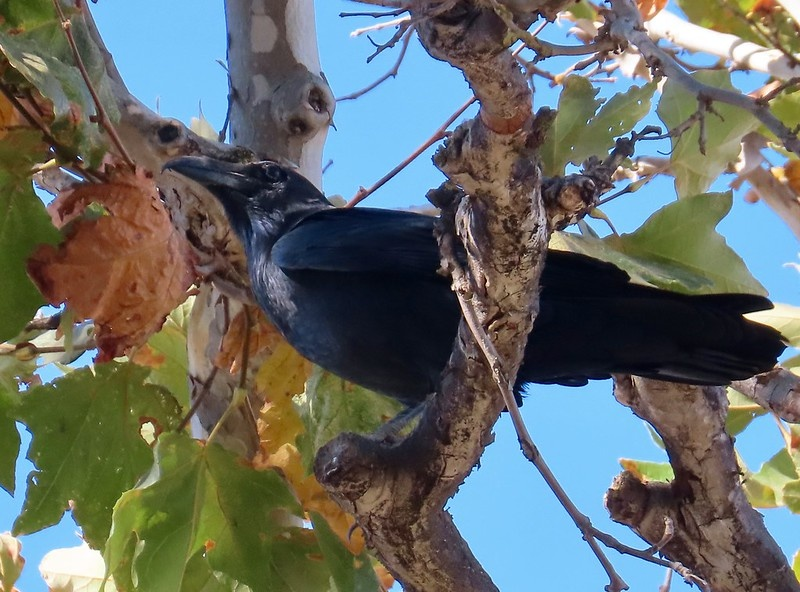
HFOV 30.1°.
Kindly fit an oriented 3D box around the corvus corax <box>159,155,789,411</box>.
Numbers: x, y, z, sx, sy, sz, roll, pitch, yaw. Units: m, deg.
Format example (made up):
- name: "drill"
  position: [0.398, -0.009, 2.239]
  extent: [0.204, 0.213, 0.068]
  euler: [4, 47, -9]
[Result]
- name: "corvus corax"
  position: [0.245, -0.005, 5.171]
  extent: [2.161, 1.085, 0.748]
  euler: [-6, -23, -10]
